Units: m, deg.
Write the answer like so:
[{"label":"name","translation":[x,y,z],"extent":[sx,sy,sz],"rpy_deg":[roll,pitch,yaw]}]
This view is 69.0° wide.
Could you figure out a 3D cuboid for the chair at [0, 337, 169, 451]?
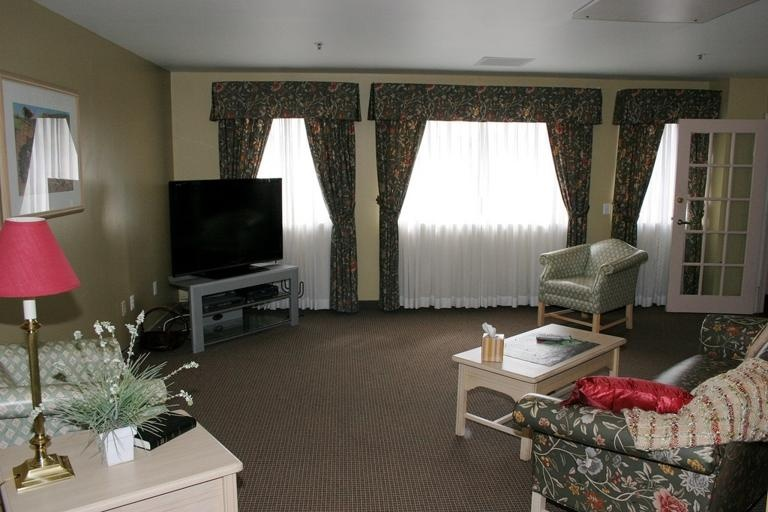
[{"label":"chair","translation":[-2.097,0.789,3.585],"extent":[0.573,0.580,0.823],"rpy_deg":[-5,10,-27]}]

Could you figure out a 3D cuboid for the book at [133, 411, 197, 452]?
[{"label":"book","translation":[-1.280,1.006,3.249],"extent":[0.189,0.046,0.192],"rpy_deg":[8,9,35]}]

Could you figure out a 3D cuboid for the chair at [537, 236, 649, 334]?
[{"label":"chair","translation":[2.469,0.322,6.963],"extent":[1.140,1.434,1.245],"rpy_deg":[-3,6,-36]}]

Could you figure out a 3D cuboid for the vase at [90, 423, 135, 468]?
[{"label":"vase","translation":[-1.463,1.037,3.052],"extent":[0.227,0.233,0.188],"rpy_deg":[-2,1,-38]}]

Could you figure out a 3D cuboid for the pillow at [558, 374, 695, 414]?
[{"label":"pillow","translation":[1.446,0.818,3.338],"extent":[0.699,0.184,0.219],"rpy_deg":[0,6,26]}]

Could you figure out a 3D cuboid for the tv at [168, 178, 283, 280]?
[{"label":"tv","translation":[-1.834,-0.318,6.372],"extent":[1.090,0.841,0.119],"rpy_deg":[-8,10,-40]}]
